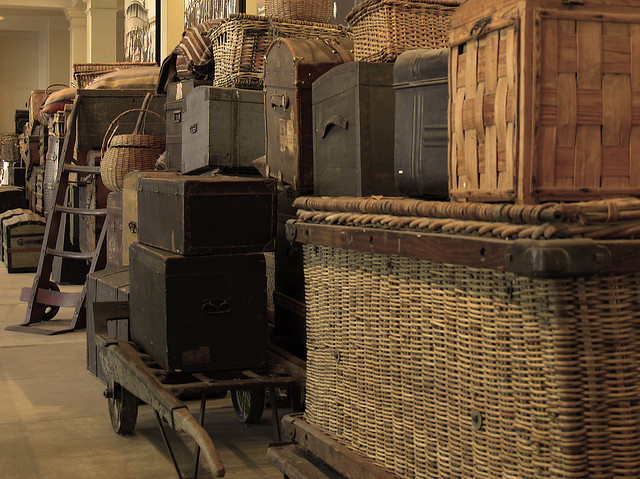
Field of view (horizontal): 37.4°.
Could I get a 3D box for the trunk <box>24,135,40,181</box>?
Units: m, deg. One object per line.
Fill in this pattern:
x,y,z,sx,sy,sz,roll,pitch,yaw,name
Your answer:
-3.452,-0.993,11.378,0.185,0.504,0.369,1,-2,-17,trunk

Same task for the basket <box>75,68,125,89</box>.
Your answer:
-2.241,-1.591,9.321,0.403,0.185,0.371,0,7,-2,basket

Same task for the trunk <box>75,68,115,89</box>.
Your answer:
-2.272,-1.597,9.343,0.369,0.118,0.311,3,7,41,trunk

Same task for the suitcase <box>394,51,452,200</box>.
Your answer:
0.318,-0.354,2.921,0.093,0.448,0.278,-4,7,-27,suitcase

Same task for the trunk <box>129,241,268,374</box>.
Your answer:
-0.491,0.243,3.755,0.539,0.471,0.495,0,1,-9,trunk

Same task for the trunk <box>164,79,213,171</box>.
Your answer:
-0.708,-0.648,5.524,0.373,0.526,0.376,2,1,30,trunk

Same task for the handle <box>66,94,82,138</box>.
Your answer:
-1.730,-0.840,6.611,0.079,0.341,0.318,5,21,-7,handle

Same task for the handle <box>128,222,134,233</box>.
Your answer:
-1.038,-0.071,5.229,0.019,0.052,0.036,-1,4,-37,handle

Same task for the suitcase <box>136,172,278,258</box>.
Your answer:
-0.423,-0.029,3.766,0.326,0.249,0.540,-2,5,-27,suitcase

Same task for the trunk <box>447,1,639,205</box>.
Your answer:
0.564,-0.362,2.456,0.511,0.538,0.238,2,7,18,trunk

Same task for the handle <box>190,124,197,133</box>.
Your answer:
-0.638,-0.563,4.781,0.010,0.036,0.038,3,0,-34,handle

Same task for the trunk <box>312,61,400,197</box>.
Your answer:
0.131,-0.404,3.526,0.188,0.491,0.446,-3,7,-20,trunk
